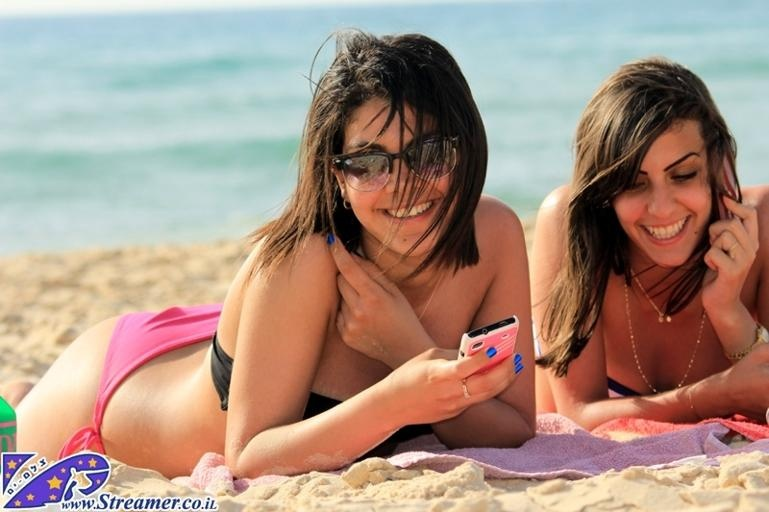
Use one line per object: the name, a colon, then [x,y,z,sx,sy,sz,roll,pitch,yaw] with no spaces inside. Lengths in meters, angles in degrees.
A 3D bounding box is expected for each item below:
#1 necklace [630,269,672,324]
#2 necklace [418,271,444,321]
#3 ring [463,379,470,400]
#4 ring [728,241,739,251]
necklace: [2.092,0.355,6.981,0.189,0.558,0.100,-38,9,15]
necklace: [0.331,0.267,6.176,0.042,0.360,0.054,32,15,39]
ring: [0.514,0.848,5.596,0.039,0.094,0.098,-5,7,9]
ring: [2.549,-0.075,6.470,0.057,0.035,0.090,-13,37,-4]
